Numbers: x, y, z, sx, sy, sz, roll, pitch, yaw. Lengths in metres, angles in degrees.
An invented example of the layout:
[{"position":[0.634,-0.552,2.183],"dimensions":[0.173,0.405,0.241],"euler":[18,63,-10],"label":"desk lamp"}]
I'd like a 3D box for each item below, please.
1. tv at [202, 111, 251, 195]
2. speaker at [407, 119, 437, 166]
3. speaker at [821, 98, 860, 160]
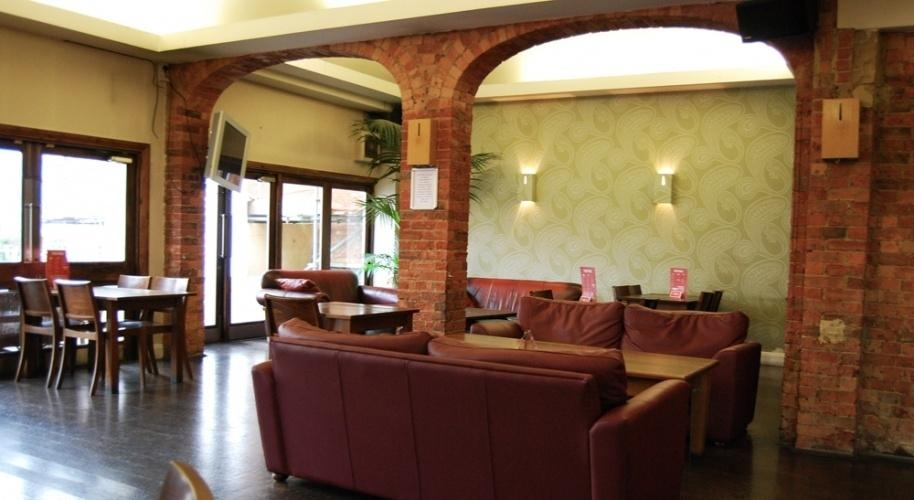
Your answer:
[{"position":[-3.479,-1.490,9.060],"dimensions":[0.653,1.169,0.407],"euler":[-3,12,-31],"label":"tv"},{"position":[-0.497,-1.339,7.429],"dimensions":[0.440,0.590,0.167],"euler":[7,11,27],"label":"speaker"},{"position":[3.981,-1.274,6.183],"dimensions":[0.363,0.625,0.147],"euler":[5,11,15],"label":"speaker"}]
